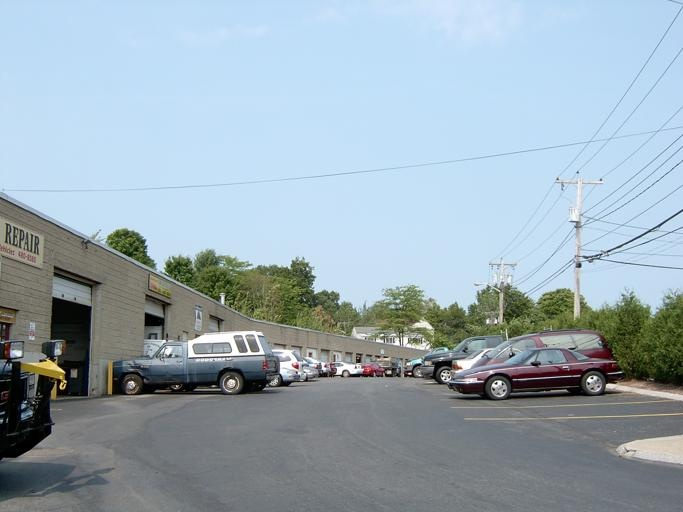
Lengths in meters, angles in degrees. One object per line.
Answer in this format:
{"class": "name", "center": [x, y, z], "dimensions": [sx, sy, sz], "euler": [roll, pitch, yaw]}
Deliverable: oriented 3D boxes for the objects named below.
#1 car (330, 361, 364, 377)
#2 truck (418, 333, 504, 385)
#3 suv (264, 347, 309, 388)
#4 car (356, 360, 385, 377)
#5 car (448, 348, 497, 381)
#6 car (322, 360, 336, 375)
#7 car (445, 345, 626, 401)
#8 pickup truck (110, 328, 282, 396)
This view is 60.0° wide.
{"class": "car", "center": [0.602, 11.619, 60.712], "dimensions": [2.621, 0.863, 1.553], "euler": [2, -5, 32]}
{"class": "truck", "center": [6.157, 5.105, 29.948], "dimensions": [4.229, 1.922, 2.129], "euler": [0, -7, 1]}
{"class": "suv", "center": [-2.754, 6.040, 31.685], "dimensions": [2.679, 1.318, 1.521], "euler": [0, -5, 18]}
{"class": "car", "center": [3.350, 12.417, 64.044], "dimensions": [1.672, 1.248, 3.839], "euler": [-1, -3, 24]}
{"class": "car", "center": [5.810, 4.636, 25.432], "dimensions": [2.446, 1.200, 1.424], "euler": [2, -8, -10]}
{"class": "car", "center": [-1.124, 11.882, 61.459], "dimensions": [0.995, 0.856, 1.659], "euler": [0, -1, 8]}
{"class": "car", "center": [6.579, 4.033, 20.173], "dimensions": [4.711, 1.462, 2.297], "euler": [1, -10, 1]}
{"class": "pickup truck", "center": [-5.660, 4.423, 24.551], "dimensions": [6.018, 2.365, 2.930], "euler": [0, -8, 11]}
